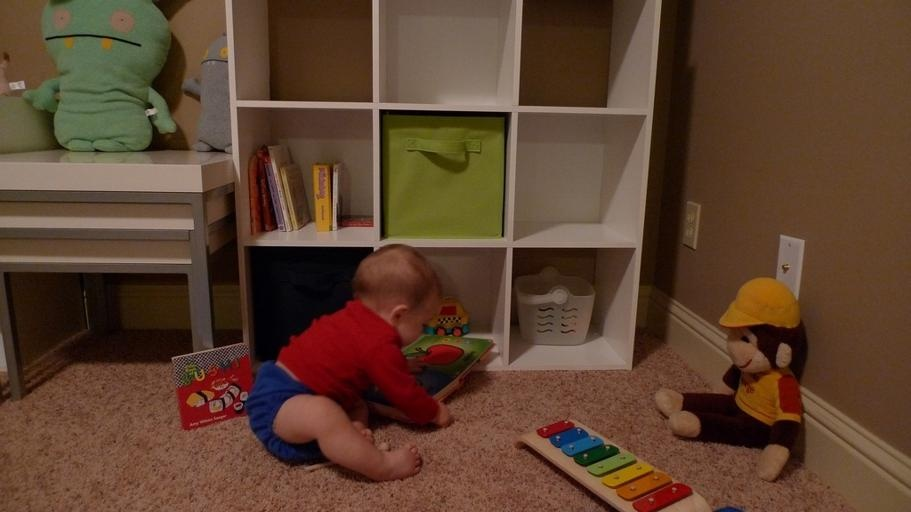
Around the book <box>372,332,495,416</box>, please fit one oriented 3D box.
[{"bbox_3d":[-0.105,0.452,2.678,0.310,0.062,0.528,9,22,26],"label":"book"}]

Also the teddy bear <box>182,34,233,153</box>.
[{"bbox_3d":[-1.022,-0.675,2.788,0.174,0.452,0.188,2,22,4],"label":"teddy bear"}]

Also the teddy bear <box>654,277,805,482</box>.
[{"bbox_3d":[1.037,0.395,2.481,0.512,0.616,0.751,-3,13,0],"label":"teddy bear"}]

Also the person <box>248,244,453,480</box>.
[{"bbox_3d":[-0.382,0.366,2.436,0.747,0.722,0.687,2,16,-3],"label":"person"}]

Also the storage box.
[{"bbox_3d":[-0.050,-0.378,2.893,0.621,0.587,0.482,1,18,-2],"label":"storage box"}]

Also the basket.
[{"bbox_3d":[0.440,0.222,2.958,0.356,0.251,0.288,-3,18,1],"label":"basket"}]

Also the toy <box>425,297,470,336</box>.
[{"bbox_3d":[-0.038,0.275,2.960,0.201,0.168,0.103,-2,14,-9],"label":"toy"}]

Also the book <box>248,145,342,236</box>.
[{"bbox_3d":[-0.637,-0.312,2.914,0.374,0.483,0.404,0,11,0],"label":"book"}]
